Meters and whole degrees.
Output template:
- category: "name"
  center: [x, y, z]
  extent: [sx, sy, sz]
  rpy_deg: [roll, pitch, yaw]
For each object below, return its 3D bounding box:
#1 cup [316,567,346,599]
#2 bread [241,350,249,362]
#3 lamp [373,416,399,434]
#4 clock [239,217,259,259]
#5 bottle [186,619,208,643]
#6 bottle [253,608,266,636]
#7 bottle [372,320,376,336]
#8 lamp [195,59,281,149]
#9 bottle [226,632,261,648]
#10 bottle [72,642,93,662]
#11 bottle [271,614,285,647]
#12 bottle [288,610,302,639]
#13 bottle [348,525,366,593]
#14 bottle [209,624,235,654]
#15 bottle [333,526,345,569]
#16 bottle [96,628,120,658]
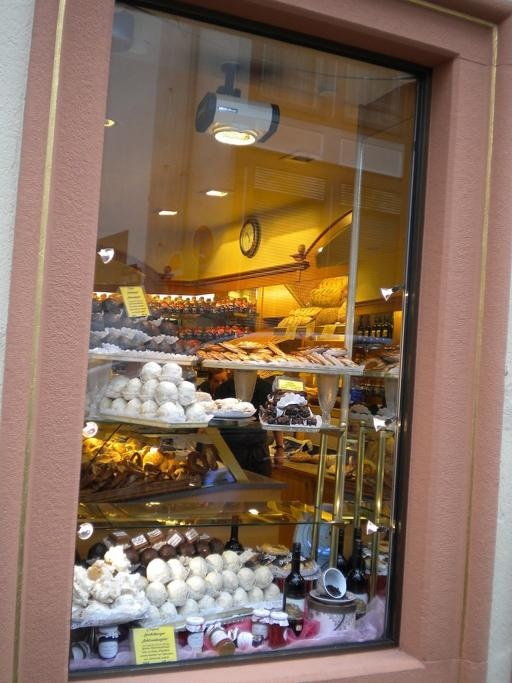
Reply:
- category: "cup"
  center: [0.240, 0.758, 1.939]
  extent: [0.083, 0.059, 0.086]
  rpy_deg: [5, 12, -1]
- category: "bread"
  center: [-0.038, 0.047, 2.059]
  extent: [0.020, 0.024, 0.080]
  rpy_deg: [-8, 8, -7]
- category: "lamp"
  center: [0.415, 0.262, 1.956]
  extent: [0.068, 0.061, 0.186]
  rpy_deg: [0, -5, -2]
- category: "clock"
  center: [-0.016, -0.460, 2.760]
  extent: [0.070, 0.144, 0.145]
  rpy_deg: [2, -2, 39]
- category: "bottle"
  center: [-0.159, 0.787, 1.701]
  extent: [0.064, 0.054, 0.059]
  rpy_deg: [2, -6, -4]
- category: "bottle"
  center: [0.015, 0.823, 1.805]
  extent: [0.041, 0.058, 0.032]
  rpy_deg: [4, -2, -23]
- category: "bottle"
  center: [0.405, -0.044, 2.122]
  extent: [0.013, 0.054, 0.046]
  rpy_deg: [4, -1, -1]
- category: "lamp"
  center: [-0.084, -0.877, 2.250]
  extent: [0.289, 0.229, 0.206]
  rpy_deg: [-2, 11, -30]
- category: "bottle"
  center: [-0.028, 0.847, 1.752]
  extent: [0.087, 0.044, 0.048]
  rpy_deg: [-4, -22, 11]
- category: "bottle"
  center: [-0.444, 0.784, 1.571]
  extent: [0.039, 0.039, 0.044]
  rpy_deg: [-3, 1, 6]
- category: "bottle"
  center: [0.063, 0.822, 1.767]
  extent: [0.050, 0.068, 0.040]
  rpy_deg: [3, -1, 3]
- category: "bottle"
  center: [0.118, 0.838, 1.844]
  extent: [0.050, 0.054, 0.041]
  rpy_deg: [3, -1, -5]
- category: "bottle"
  center: [0.330, 0.717, 2.023]
  extent: [0.059, 0.135, 0.094]
  rpy_deg: [4, -1, -5]
- category: "bottle"
  center: [-0.096, 0.827, 1.718]
  extent: [0.071, 0.049, 0.115]
  rpy_deg: [3, -1, -5]
- category: "bottle"
  center: [0.289, 0.702, 2.094]
  extent: [0.033, 0.094, 0.057]
  rpy_deg: [4, -1, 4]
- category: "bottle"
  center: [-0.381, 0.781, 1.611]
  extent: [0.059, 0.068, 0.045]
  rpy_deg: [4, -2, -24]
